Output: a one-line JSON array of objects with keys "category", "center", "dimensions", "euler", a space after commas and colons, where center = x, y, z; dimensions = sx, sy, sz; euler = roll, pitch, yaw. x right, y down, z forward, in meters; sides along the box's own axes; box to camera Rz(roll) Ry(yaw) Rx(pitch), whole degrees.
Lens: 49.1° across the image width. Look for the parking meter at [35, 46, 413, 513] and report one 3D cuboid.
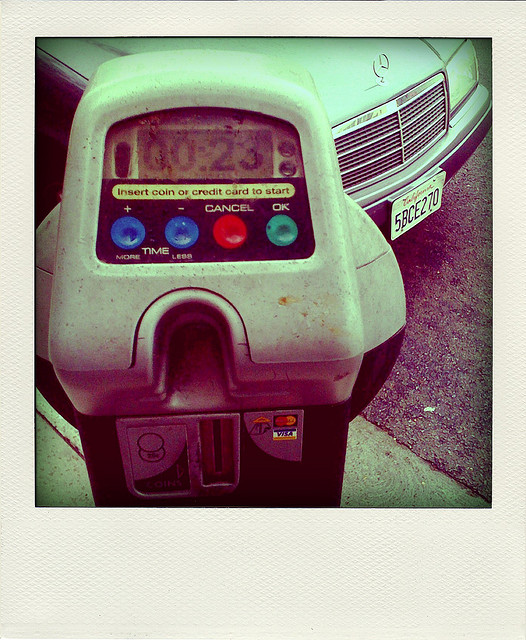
[{"category": "parking meter", "center": [-0.028, -0.044, 1.076], "dimensions": [0.639, 0.828, 0.390], "euler": [0, 29, 6]}]
